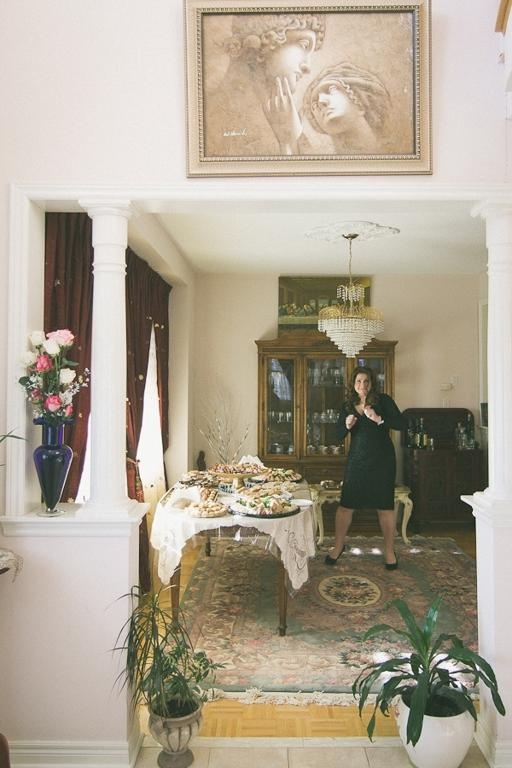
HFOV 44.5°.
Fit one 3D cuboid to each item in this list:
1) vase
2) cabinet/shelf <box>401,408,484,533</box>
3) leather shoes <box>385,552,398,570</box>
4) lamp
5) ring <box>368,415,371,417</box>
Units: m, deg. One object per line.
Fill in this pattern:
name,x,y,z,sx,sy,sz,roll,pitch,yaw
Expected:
vase,-0.836,0.334,2.572,0.141,0.398,0.220,-1,3,-20
cabinet/shelf,1.847,0.834,6.150,0.763,1.149,0.607,0,3,9
leather shoes,1.003,1.317,4.656,0.088,0.080,0.250,-3,-11,5
lamp,0.747,-0.717,5.012,0.773,1.025,0.734,1,2,-10
ring,0.830,0.233,4.577,0.005,0.016,0.015,-6,0,-38
